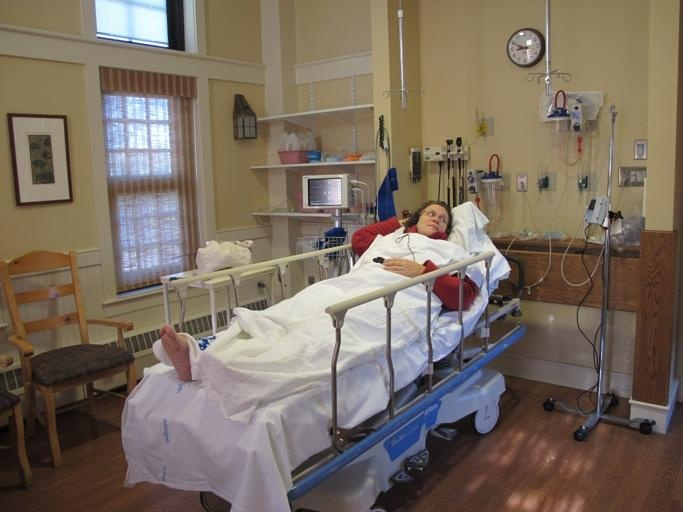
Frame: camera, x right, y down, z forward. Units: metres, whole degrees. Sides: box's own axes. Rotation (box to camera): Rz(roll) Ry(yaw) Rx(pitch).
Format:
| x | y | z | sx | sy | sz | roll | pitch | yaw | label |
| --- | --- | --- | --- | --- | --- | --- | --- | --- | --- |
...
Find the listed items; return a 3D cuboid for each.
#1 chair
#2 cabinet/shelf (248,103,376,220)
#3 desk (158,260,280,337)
| x | y | z | sx | sy | sz | roll | pitch | yaw | label |
| --- | --- | --- | --- | --- | --- | --- | --- | --- | --- |
| -1.869 | 0.583 | 3.680 | 0.696 | 1.236 | 0.958 | -12 | 14 | -33 | chair |
| -0.239 | -0.917 | 4.900 | 1.107 | 0.877 | 0.371 | 0 | 2 | 28 | cabinet/shelf |
| -0.912 | 0.289 | 3.768 | 0.424 | 0.564 | 0.565 | 3 | 6 | 28 | desk |
